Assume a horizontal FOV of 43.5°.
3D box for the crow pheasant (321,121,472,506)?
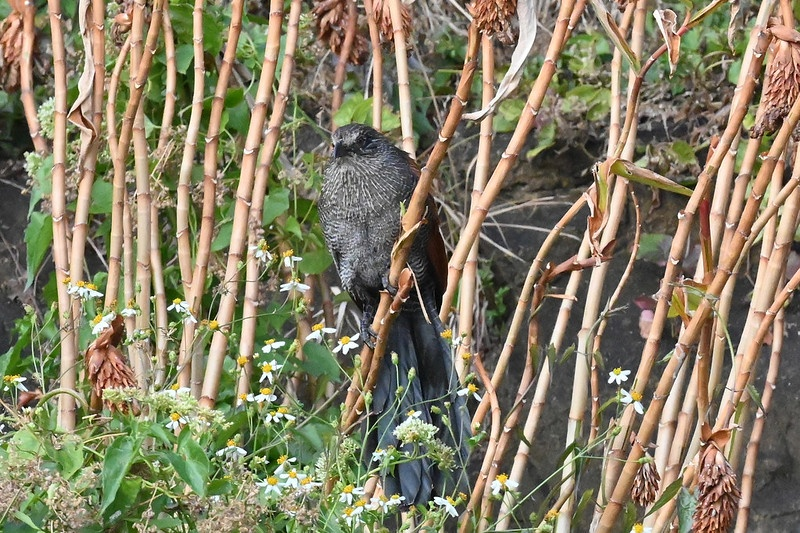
[{"bbox_3d":[-0.032,0.097,3.198,0.350,1.455,0.486,-4,16,17],"label":"crow pheasant"}]
